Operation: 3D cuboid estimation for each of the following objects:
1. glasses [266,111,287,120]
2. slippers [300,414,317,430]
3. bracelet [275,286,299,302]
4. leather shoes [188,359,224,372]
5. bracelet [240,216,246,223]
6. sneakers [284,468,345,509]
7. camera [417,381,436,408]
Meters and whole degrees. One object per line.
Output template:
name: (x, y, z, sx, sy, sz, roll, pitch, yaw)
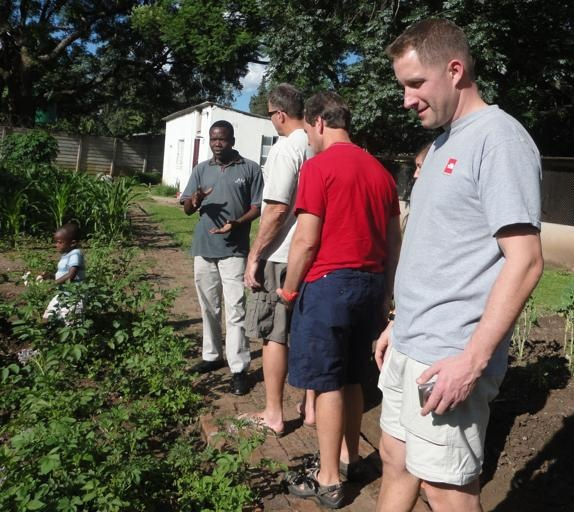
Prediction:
glasses: (-0.061, -0.977, 3.526, 0.092, 0.027, 0.091, 8, 4, -3)
slippers: (0.162, 1.170, 3.567, 0.061, 0.069, 0.160, 2, -1, -5)
bracelet: (0.000, 0.224, 2.932, 0.079, 0.039, 0.102, 11, -16, -4)
leather shoes: (-0.695, 0.954, 4.393, 0.273, 0.107, 0.096, 2, 0, -34)
bracelet: (-0.361, -0.299, 4.165, 0.058, 0.046, 0.065, 1, 9, -9)
sneakers: (0.144, 1.266, 2.846, 0.354, 0.168, 0.138, 11, 14, 29)
camera: (0.500, 0.492, 1.831, 0.035, 0.086, 0.094, 13, -2, 21)
